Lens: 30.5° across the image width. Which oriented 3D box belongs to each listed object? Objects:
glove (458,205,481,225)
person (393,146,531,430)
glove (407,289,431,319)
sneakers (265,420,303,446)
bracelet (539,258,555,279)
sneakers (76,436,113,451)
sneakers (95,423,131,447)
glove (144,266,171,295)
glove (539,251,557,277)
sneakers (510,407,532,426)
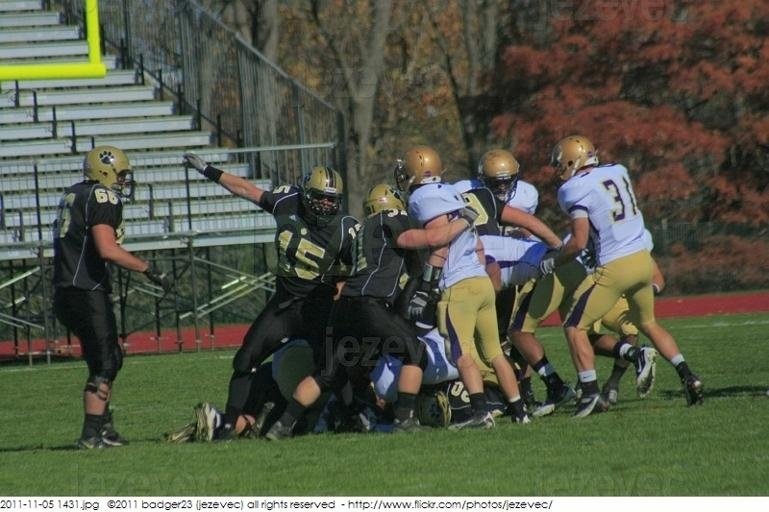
[{"bbox_3d":[1.238,-0.562,20.196,0.224,0.258,0.210,-49,-21,4],"label":"glove"},{"bbox_3d":[1.099,0.421,20.268,1.410,4.094,0.734,-1,-7,-27],"label":"person"},{"bbox_3d":[0.576,0.717,20.213,0.432,0.398,0.320,0,-2,4],"label":"glove"},{"bbox_3d":[-1.419,2.491,20.031,0.500,0.285,0.268,-1,-7,-22],"label":"sneakers"},{"bbox_3d":[2.368,0.173,20.494,0.126,0.144,0.336,26,-48,1],"label":"bracelet"},{"bbox_3d":[-4.098,2.666,19.998,0.433,0.185,0.148,-3,-6,-9],"label":"sneakers"},{"bbox_3d":[-3.843,2.592,20.077,0.563,0.230,0.192,-3,-6,42],"label":"sneakers"},{"bbox_3d":[-3.188,0.373,20.261,0.235,0.483,0.205,-42,15,17],"label":"glove"},{"bbox_3d":[2.391,0.121,20.515,0.152,0.401,0.176,23,24,-1],"label":"glove"},{"bbox_3d":[1.958,2.324,20.245,0.224,0.164,0.342,3,-7,-3],"label":"sneakers"}]
